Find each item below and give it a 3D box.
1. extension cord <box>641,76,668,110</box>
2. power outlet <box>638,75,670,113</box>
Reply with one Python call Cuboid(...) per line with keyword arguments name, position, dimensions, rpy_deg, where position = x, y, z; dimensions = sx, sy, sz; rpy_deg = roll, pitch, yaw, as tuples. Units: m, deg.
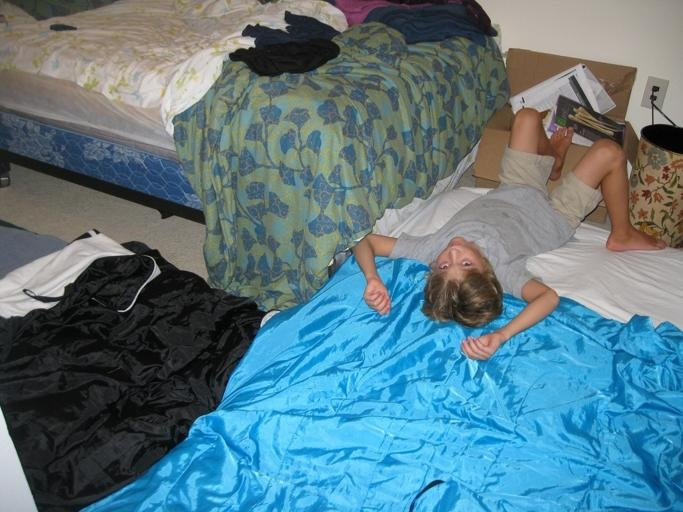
Cuboid(name="extension cord", position=(1.838, -0.962, 3.159), dimensions=(0.158, 0.229, 0.018), rpy_deg=(21, 41, 29))
Cuboid(name="power outlet", position=(1.837, -0.961, 3.162), dimensions=(0.177, 0.256, 0.021), rpy_deg=(21, 41, 29))
